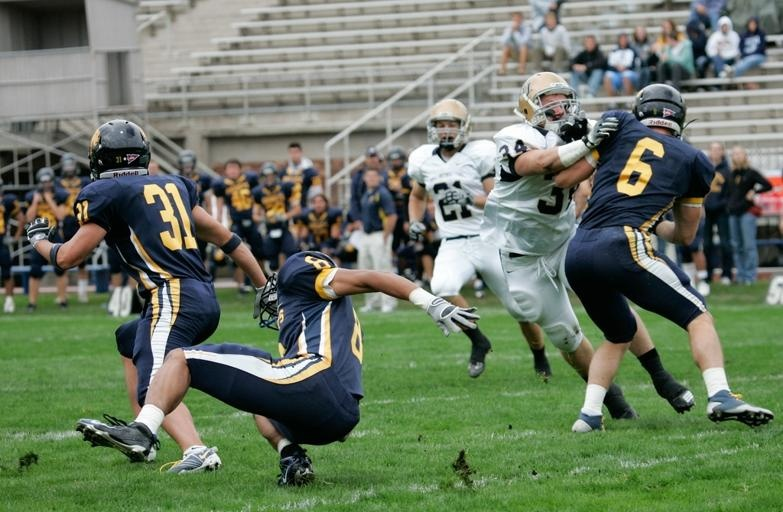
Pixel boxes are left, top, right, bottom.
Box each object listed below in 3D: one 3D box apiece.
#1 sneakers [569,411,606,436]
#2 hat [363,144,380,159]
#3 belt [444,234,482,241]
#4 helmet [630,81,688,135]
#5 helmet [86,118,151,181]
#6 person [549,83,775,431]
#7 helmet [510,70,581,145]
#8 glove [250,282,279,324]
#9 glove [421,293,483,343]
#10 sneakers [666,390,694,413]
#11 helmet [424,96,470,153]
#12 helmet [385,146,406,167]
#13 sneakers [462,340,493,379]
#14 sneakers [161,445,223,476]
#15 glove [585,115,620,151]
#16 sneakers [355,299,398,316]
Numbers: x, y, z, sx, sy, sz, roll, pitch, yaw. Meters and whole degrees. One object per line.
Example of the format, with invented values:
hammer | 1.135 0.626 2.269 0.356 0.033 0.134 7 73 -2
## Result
sneakers | 1.634 1.423 9.558 0.322 0.140 0.122 0 -3 13
hat | -0.308 -1.511 16.360 0.141 0.199 0.192 6 0 14
belt | 0.709 -0.194 11.729 0.356 0.069 0.062 0 9 11
helmet | 2.245 -1.244 9.579 0.359 0.416 0.452 16 2 8
helmet | -2.227 -0.866 9.295 0.372 0.452 0.522 -3 5 -17
person | 2.076 0.031 9.449 1.402 2.875 0.877 0 8 9
helmet | 1.321 -1.280 9.833 0.479 0.585 0.609 -5 2 -31
glove | -1.069 0.404 9.386 0.347 0.249 0.228 -2 8 40
glove | 0.428 0.486 8.635 0.361 0.266 0.133 34 -23 4
sneakers | 2.494 1.275 9.821 0.168 0.205 0.220 -11 16 45
helmet | 0.560 -1.371 11.754 0.366 0.439 0.513 0 2 10
helmet | 0.038 -1.514 17.287 0.234 0.302 0.309 -5 0 0
sneakers | 0.839 1.041 11.330 0.187 0.372 0.154 12 -25 14
sneakers | -1.594 1.688 9.189 0.527 0.256 0.202 -3 -23 -5
glove | 1.702 -1.031 9.367 0.091 0.305 0.232 39 6 -28
sneakers | -0.250 0.806 16.648 0.608 0.280 0.191 -21 -14 31
